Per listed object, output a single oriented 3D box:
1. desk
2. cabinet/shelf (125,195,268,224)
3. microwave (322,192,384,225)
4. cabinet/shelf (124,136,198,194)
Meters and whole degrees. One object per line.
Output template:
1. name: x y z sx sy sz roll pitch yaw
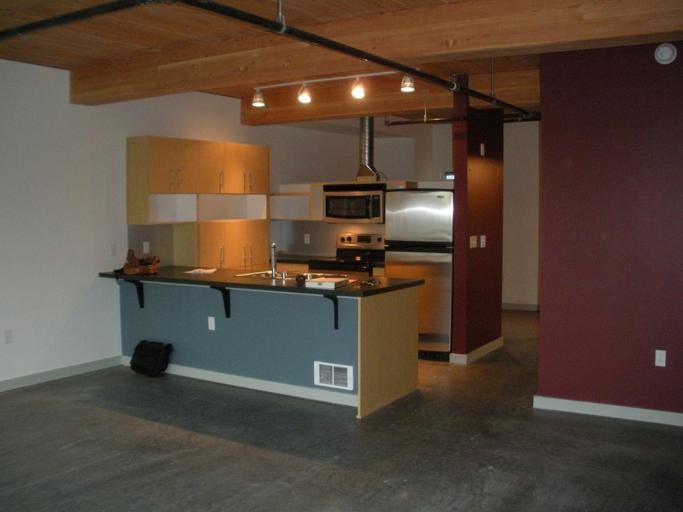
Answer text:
1. desk: -0.881 0.831 6.135 3.147 1.208 0.870 3 7 25
2. cabinet/shelf: -1.864 -0.664 7.799 0.338 0.389 2.091 5 8 35
3. microwave: 0.186 -0.736 8.464 0.966 0.440 0.190 5 8 38
4. cabinet/shelf: -2.306 -1.150 7.278 0.463 0.727 0.858 9 12 29
